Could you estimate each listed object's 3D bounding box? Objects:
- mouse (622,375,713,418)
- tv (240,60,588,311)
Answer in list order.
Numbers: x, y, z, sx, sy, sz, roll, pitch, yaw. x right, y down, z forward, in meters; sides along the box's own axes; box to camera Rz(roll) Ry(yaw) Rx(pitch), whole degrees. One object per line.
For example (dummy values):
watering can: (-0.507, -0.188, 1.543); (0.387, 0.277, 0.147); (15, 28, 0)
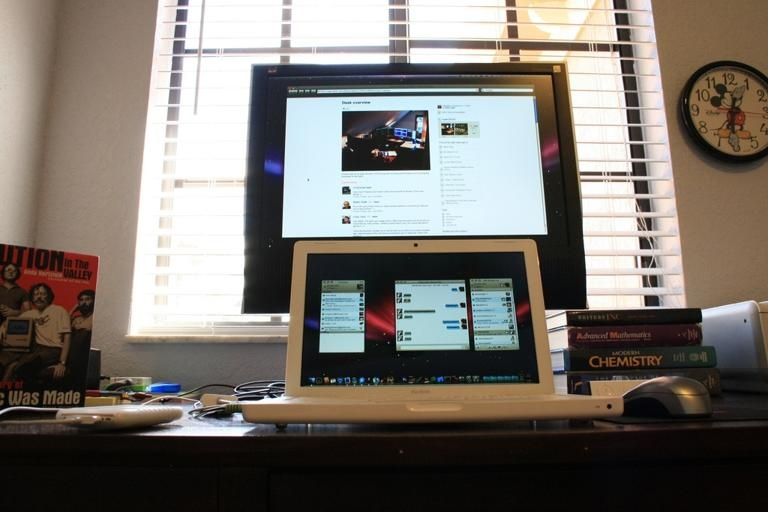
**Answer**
mouse: (0.722, 0.360, 1.756); (0.173, 0.088, 0.269); (-3, -12, -17)
tv: (0.070, -0.184, 1.939); (0.944, 0.547, 0.090); (0, -9, -1)
